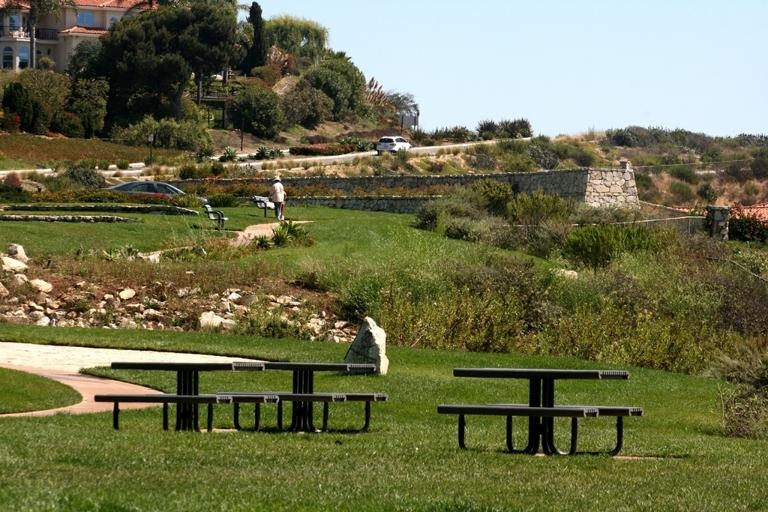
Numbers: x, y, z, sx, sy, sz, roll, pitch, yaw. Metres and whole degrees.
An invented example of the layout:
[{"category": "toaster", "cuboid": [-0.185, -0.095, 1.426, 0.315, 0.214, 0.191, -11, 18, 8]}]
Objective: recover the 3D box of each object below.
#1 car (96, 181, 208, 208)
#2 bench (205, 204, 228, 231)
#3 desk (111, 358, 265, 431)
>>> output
[{"category": "car", "cuboid": [-13.341, -3.682, 102.378, 5.019, 1.465, 3.541, 1, -2, 25]}, {"category": "bench", "cuboid": [-9.012, -2.044, 95.179, 1.360, 1.853, 1.263, 1, 5, 14]}, {"category": "desk", "cuboid": [-8.838, 6.190, 78.978, 6.512, 3.166, 2.733, 2, -2, -3]}]
